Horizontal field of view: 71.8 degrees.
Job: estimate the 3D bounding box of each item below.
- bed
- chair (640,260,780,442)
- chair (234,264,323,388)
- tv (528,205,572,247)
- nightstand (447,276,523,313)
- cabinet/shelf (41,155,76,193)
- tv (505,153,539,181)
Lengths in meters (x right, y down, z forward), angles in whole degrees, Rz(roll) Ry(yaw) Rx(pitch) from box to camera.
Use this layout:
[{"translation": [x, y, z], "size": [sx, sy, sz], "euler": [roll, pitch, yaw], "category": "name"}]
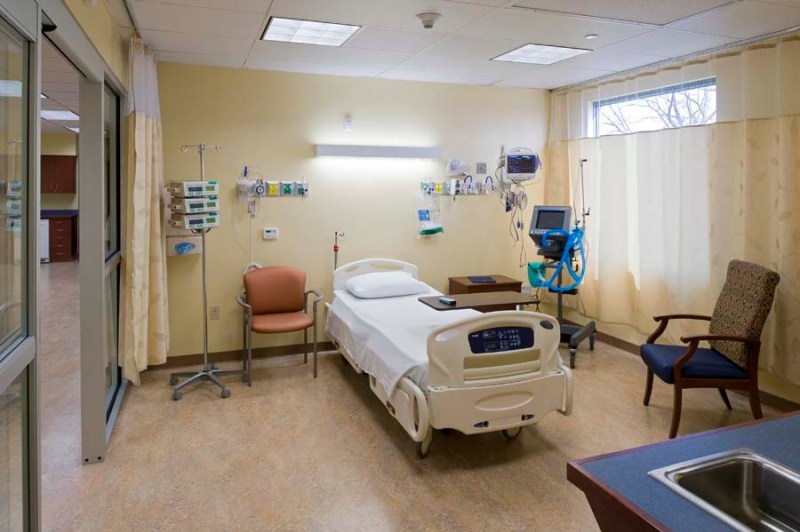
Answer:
[{"translation": [0.165, 0.601, 4.612], "size": [1.047, 0.786, 1.867], "euler": [-4, 10, -19], "category": "bed"}, {"translation": [2.462, 0.639, 4.438], "size": [0.860, 1.298, 0.706], "euler": [-1, 9, -3], "category": "chair"}, {"translation": [-1.188, 0.577, 5.380], "size": [0.743, 1.050, 0.668], "euler": [-1, 6, -18], "category": "chair"}, {"translation": [1.595, -0.423, 5.822], "size": [0.421, 0.399, 0.232], "euler": [-4, -19, 46], "category": "tv"}, {"translation": [0.917, 0.247, 6.082], "size": [0.449, 0.428, 0.446], "euler": [-1, 2, -14], "category": "nightstand"}, {"translation": [-6.875, -1.864, 11.136], "size": [0.618, 0.769, 0.483], "euler": [-6, 10, -32], "category": "cabinet/shelf"}, {"translation": [1.324, -1.090, 6.233], "size": [0.447, 0.432, 0.263], "euler": [0, 3, -2], "category": "tv"}]
